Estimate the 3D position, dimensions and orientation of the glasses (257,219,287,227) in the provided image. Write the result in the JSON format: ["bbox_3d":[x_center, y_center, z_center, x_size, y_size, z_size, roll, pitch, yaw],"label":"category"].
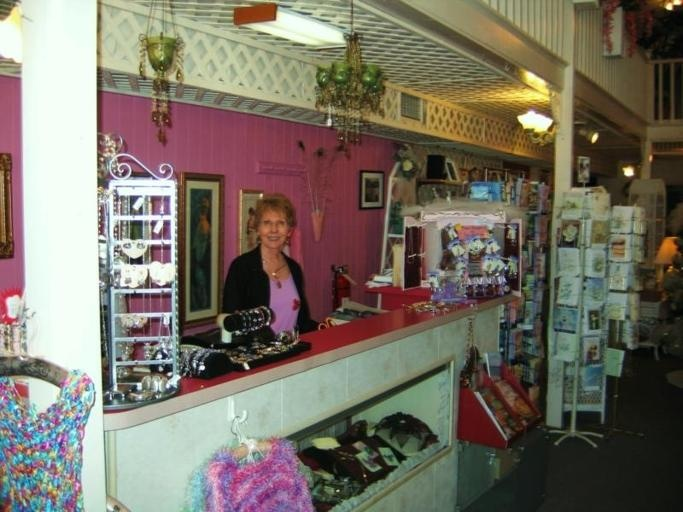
[{"bbox_3d":[-0.440,-0.212,4.000,0.188,0.041,0.060,-3,2,-6],"label":"glasses"}]

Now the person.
[{"bbox_3d":[-0.464,0.057,3.996,0.281,0.897,0.729,-1,3,43],"label":"person"}]

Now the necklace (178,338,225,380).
[{"bbox_3d":[-0.575,0.416,2.503,0.186,0.064,0.115,13,19,37],"label":"necklace"}]

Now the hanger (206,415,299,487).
[{"bbox_3d":[-0.330,0.653,2.270,0.255,0.107,0.263,1,0,-21],"label":"hanger"}]

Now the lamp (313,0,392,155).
[{"bbox_3d":[0.068,-1.292,4.430,0.555,1.302,0.574,8,17,25],"label":"lamp"}]

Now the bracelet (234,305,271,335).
[{"bbox_3d":[-0.381,0.277,2.744,0.072,0.084,0.208,-8,-3,19],"label":"bracelet"}]

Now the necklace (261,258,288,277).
[{"bbox_3d":[-0.427,0.062,4.072,0.107,0.029,0.116,15,14,30],"label":"necklace"}]
